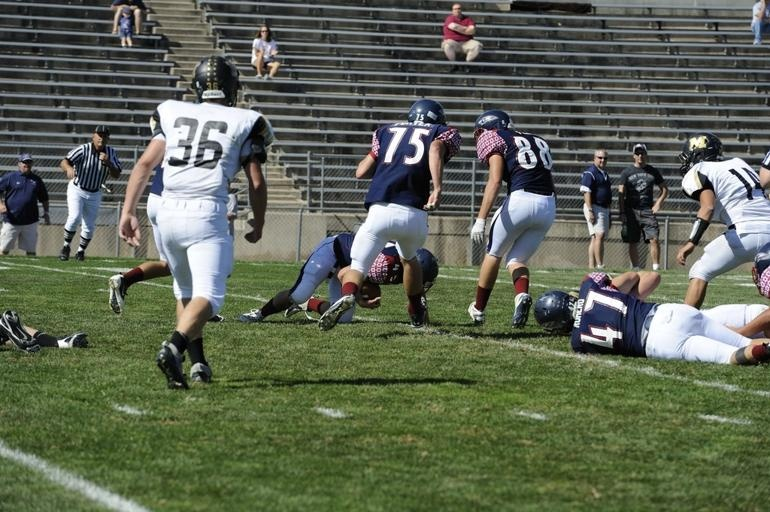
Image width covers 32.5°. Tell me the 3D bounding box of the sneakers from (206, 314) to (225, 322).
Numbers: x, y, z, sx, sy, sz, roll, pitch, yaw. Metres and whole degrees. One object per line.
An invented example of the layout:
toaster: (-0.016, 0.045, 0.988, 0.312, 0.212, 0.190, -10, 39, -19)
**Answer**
sneakers: (-2.184, 0.836, 17.290, 0.171, 0.057, 0.100, -9, 44, -35)

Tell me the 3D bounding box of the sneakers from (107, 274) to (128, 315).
sneakers: (-3.503, 0.488, 17.156, 0.195, 0.534, 0.260, -4, -1, 24)

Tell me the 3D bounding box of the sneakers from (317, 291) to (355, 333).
sneakers: (-0.547, 0.672, 16.318, 0.247, 0.664, 0.286, 42, 20, -17)

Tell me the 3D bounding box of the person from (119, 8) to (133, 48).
person: (-5.356, -4.715, 27.345, 0.323, 0.803, 0.346, 4, 3, -9)

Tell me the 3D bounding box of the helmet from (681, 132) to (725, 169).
helmet: (4.230, -1.378, 17.556, 0.538, 0.515, 0.448, -5, 5, 29)

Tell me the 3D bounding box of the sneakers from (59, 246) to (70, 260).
sneakers: (-5.464, -0.044, 22.678, 0.166, 0.258, 0.267, 17, 1, -5)

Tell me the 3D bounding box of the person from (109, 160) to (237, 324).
person: (-2.765, -0.411, 16.691, 1.585, 2.419, 0.919, 7, -4, -17)

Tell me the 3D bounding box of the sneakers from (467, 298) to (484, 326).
sneakers: (1.220, 0.724, 17.503, 0.155, 0.152, 0.337, 0, 33, -5)

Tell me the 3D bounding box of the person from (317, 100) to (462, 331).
person: (0.121, -0.526, 16.759, 1.566, 2.995, 0.820, 3, 3, -26)

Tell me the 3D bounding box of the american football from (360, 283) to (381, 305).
american football: (-0.170, 0.497, 17.274, 0.196, 0.295, 0.295, 34, 6, -1)

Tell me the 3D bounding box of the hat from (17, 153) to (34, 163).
hat: (-6.242, -1.686, 22.938, 0.267, 0.114, 0.363, -1, 1, -24)

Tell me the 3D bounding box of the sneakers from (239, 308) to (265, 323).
sneakers: (-1.741, 0.795, 17.393, 0.278, 0.113, 0.146, 2, 7, -7)

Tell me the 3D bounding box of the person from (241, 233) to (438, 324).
person: (-0.525, 0.298, 17.514, 2.144, 0.943, 1.235, 0, 2, 4)

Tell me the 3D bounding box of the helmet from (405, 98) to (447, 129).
helmet: (0.588, -1.830, 17.192, 0.347, 0.337, 0.442, 18, 30, 35)

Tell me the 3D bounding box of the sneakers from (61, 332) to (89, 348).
sneakers: (-3.767, 1.026, 16.046, 0.156, 0.119, 0.356, 4, 9, 36)

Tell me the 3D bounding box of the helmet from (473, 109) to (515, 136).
helmet: (1.482, -1.771, 17.813, 0.451, 0.327, 0.331, 11, -3, 22)

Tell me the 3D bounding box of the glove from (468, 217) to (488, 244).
glove: (1.253, -0.330, 17.329, 0.157, 0.332, 0.247, 5, 3, 6)

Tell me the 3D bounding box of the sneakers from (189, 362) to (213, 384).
sneakers: (-2.141, 1.371, 15.401, 0.206, 0.154, 0.359, 1, -9, -5)

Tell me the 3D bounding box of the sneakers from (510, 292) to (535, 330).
sneakers: (1.800, 0.717, 17.246, 0.205, 0.521, 0.244, 16, 3, -11)

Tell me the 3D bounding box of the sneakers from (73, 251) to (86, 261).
sneakers: (-5.259, 0.018, 22.851, 0.127, 0.166, 0.178, -4, -11, 33)
